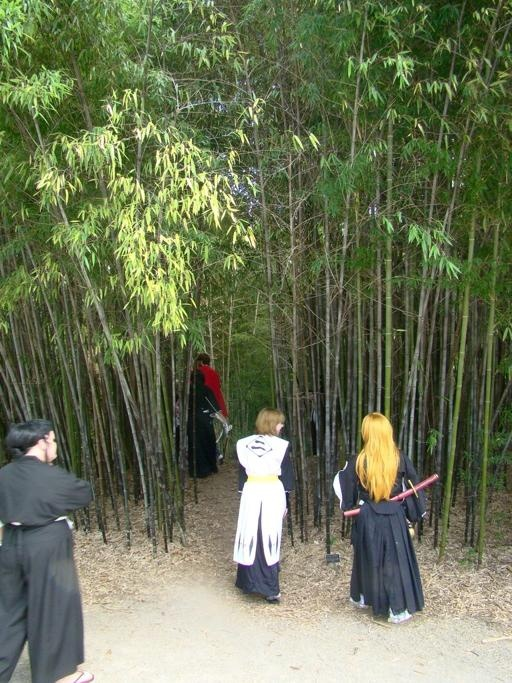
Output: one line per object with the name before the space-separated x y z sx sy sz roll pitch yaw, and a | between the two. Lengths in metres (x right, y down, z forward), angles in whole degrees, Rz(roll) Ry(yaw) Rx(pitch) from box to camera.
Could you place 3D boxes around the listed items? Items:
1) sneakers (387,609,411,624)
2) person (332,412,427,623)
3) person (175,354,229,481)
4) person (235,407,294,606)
sneakers | 0.643 1.203 2.821 0.126 0.057 0.048 -3 4 -18
person | 0.542 0.770 2.867 0.378 0.924 0.229 -1 4 6
person | -0.491 0.713 5.888 0.485 1.193 1.115 -2 3 -8
person | 0.032 0.805 3.204 0.293 0.928 0.274 -1 4 2
